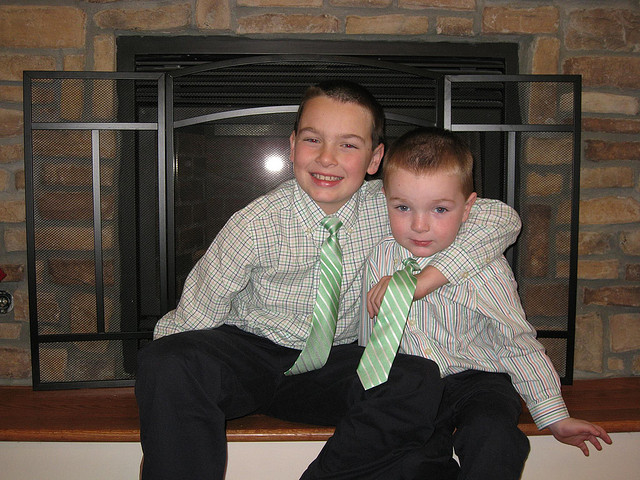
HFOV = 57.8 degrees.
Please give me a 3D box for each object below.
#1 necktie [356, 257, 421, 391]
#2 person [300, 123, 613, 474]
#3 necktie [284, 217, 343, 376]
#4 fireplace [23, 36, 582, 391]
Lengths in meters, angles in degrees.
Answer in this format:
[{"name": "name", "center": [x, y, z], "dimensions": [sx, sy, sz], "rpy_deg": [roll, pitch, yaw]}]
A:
[{"name": "necktie", "center": [0.188, 0.227, 1.600], "dimensions": [0.114, 0.363, 0.077], "rpy_deg": [21, -10, 17]}, {"name": "person", "center": [0.372, 0.197, 1.549], "dimensions": [0.782, 1.018, 0.361], "rpy_deg": [2, 4, 0]}, {"name": "necktie", "center": [-0.016, 0.160, 1.655], "dimensions": [0.154, 0.452, 0.073], "rpy_deg": [2, 4, -2]}, {"name": "fireplace", "center": [-0.015, -0.127, 1.907], "dimensions": [1.898, 0.930, 0.545], "rpy_deg": [-4, 2, -14]}]
